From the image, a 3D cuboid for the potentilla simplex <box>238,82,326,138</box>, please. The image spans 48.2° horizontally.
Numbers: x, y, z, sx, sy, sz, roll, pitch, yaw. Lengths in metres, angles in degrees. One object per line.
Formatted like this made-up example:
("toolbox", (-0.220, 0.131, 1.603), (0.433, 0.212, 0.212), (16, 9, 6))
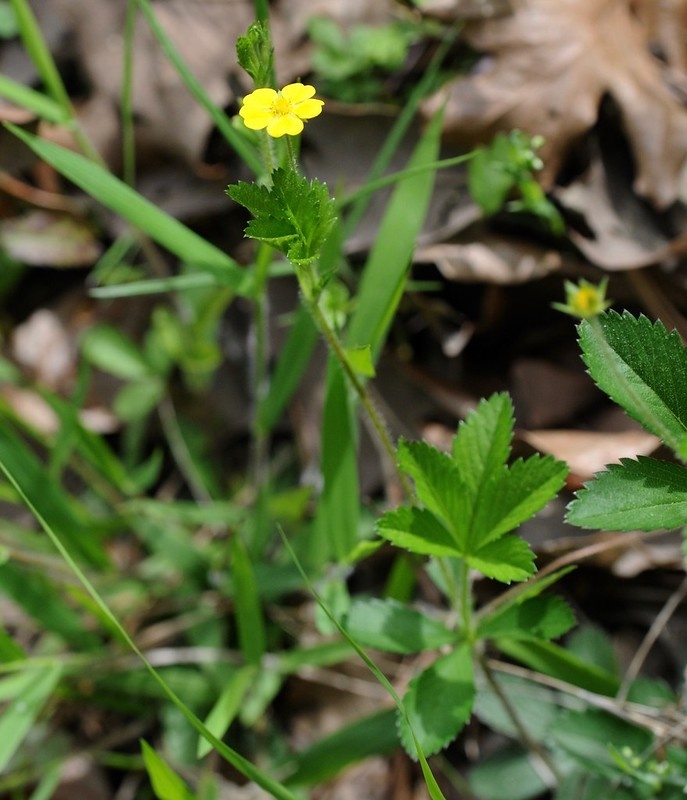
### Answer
("potentilla simplex", (-0.042, -0.206, 0.557), (0.063, 0.017, 0.049), (3, 66, 6))
